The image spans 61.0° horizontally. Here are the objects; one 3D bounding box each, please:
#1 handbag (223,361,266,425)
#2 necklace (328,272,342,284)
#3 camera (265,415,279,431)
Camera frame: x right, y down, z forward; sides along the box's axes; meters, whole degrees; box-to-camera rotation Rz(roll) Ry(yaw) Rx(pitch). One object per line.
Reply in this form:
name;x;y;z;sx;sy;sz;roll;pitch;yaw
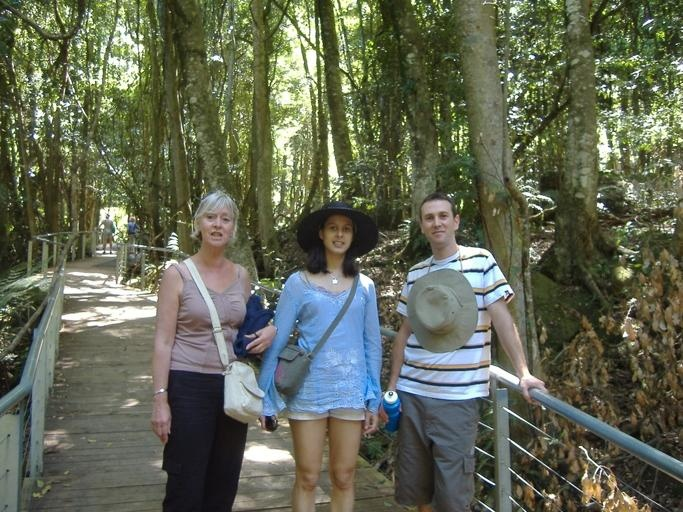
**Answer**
handbag;-0.720;1.027;4.262;0.294;0.494;0.253;2;7;-12
necklace;-0.061;0.173;4.502;0.085;0.150;0.016;-1;-35;1
camera;-0.527;1.272;4.409;0.086;0.130;0.114;-3;12;-28
